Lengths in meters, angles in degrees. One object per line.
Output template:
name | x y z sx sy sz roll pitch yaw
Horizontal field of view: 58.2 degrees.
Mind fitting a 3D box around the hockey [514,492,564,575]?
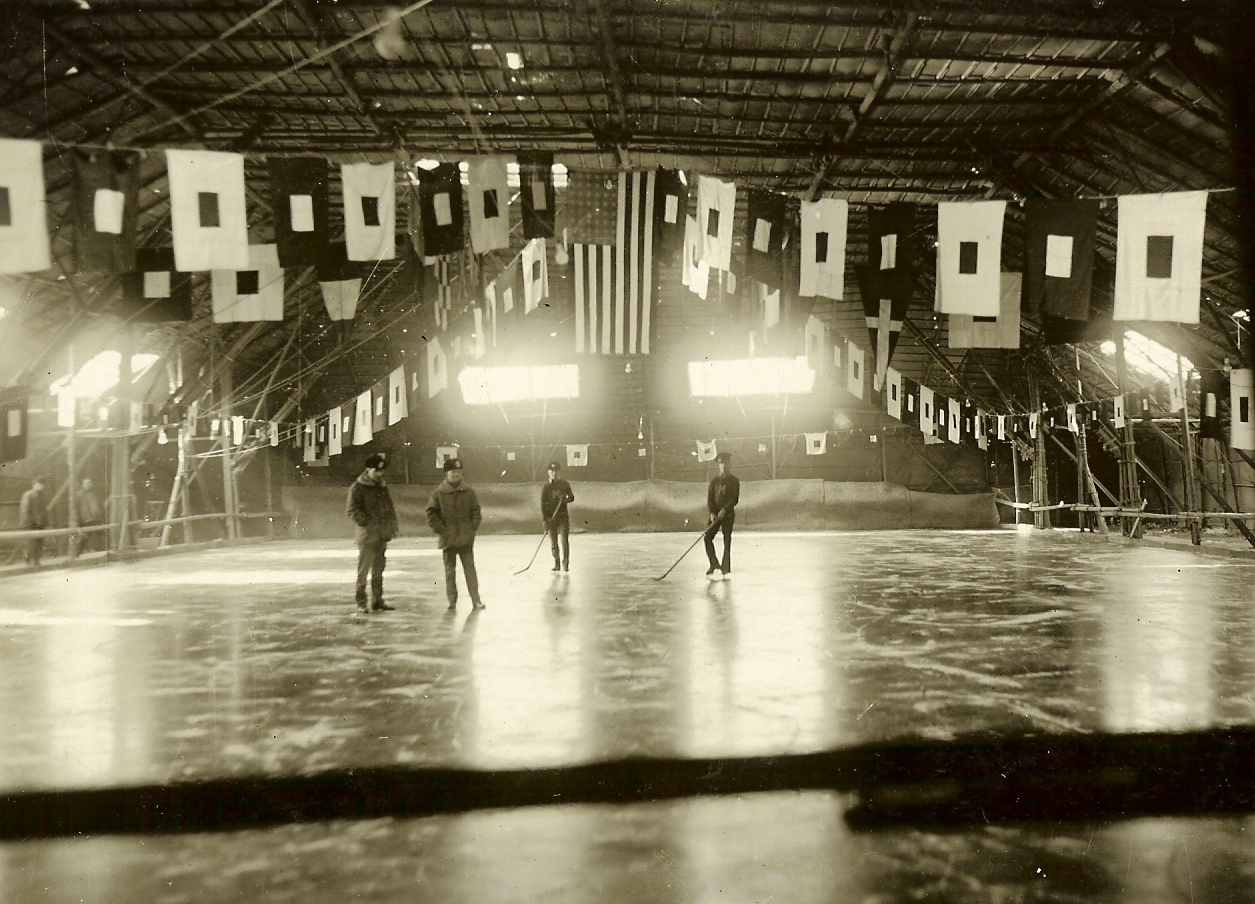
hockey | -2.069 1.969 26.612 0.253 1.945 0.214 23 20 -12

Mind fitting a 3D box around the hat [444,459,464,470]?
hat | -2.726 0.195 17.704 0.233 0.212 0.227 -5 13 -20

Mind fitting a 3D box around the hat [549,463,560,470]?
hat | -1.373 0.283 21.458 0.106 0.133 0.155 -3 -5 3

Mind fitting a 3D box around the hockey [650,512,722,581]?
hockey | 1.153 1.898 21.526 0.466 0.531 3.203 -8 -13 -13
